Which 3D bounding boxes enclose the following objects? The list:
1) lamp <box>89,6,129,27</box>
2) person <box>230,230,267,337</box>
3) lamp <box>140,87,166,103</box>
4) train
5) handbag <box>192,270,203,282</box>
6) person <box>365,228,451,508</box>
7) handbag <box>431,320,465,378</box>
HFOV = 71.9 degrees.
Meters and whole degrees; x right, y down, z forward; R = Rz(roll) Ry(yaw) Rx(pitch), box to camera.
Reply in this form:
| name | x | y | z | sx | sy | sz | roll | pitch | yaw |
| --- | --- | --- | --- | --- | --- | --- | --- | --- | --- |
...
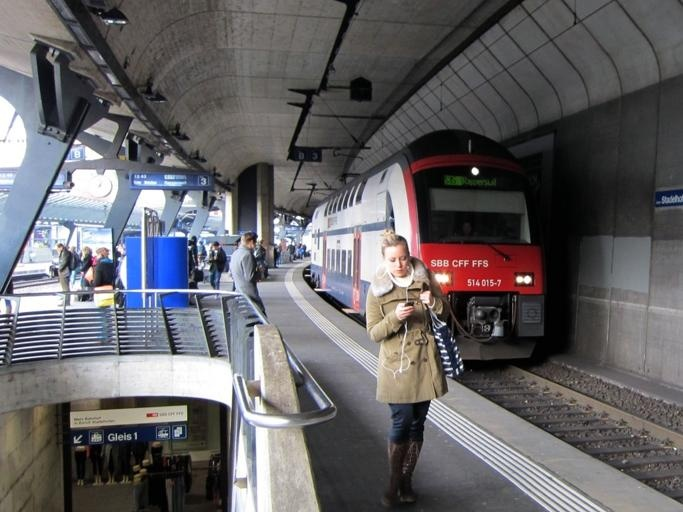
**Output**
| name | x | y | z | sx | sy | sz | roll | pitch | yaw |
| --- | --- | --- | --- | --- | --- | --- | --- | --- | --- |
| lamp | -4.190 | -4.353 | 8.546 | 0.572 | 0.285 | 0.445 | 4 | 4 | -17 |
| person | -1.630 | 0.192 | 8.237 | 0.704 | 1.136 | 0.492 | 4 | 1 | 28 |
| lamp | -5.481 | -4.725 | 13.999 | 0.539 | 0.306 | 1.335 | 3 | 2 | -12 |
| train | 1.485 | -0.842 | 13.801 | 1.899 | 3.922 | 10.843 | 0 | 5 | -8 |
| handbag | -5.699 | 0.746 | 18.689 | 0.314 | 0.651 | 0.629 | -1 | 0 | -3 |
| person | 0.538 | 1.012 | 3.987 | 0.643 | 2.202 | 0.479 | 3 | 1 | -24 |
| handbag | 0.893 | 0.770 | 3.971 | 0.306 | 0.496 | 0.250 | 3 | 1 | -4 |
